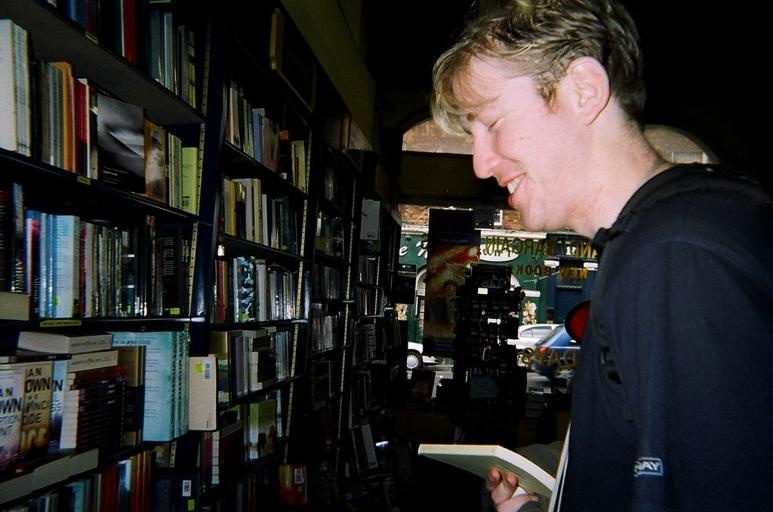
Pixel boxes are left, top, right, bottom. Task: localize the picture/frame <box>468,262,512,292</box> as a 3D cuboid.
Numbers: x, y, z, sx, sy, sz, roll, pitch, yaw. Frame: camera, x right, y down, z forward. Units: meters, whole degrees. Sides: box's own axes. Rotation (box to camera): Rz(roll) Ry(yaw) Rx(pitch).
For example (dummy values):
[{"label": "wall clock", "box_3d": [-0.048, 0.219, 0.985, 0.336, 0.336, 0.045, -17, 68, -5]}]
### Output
[{"label": "picture/frame", "box_3d": [1.353, 0.286, 8.785, 0.421, 0.397, 0.153, 0, -8, 5]}]
